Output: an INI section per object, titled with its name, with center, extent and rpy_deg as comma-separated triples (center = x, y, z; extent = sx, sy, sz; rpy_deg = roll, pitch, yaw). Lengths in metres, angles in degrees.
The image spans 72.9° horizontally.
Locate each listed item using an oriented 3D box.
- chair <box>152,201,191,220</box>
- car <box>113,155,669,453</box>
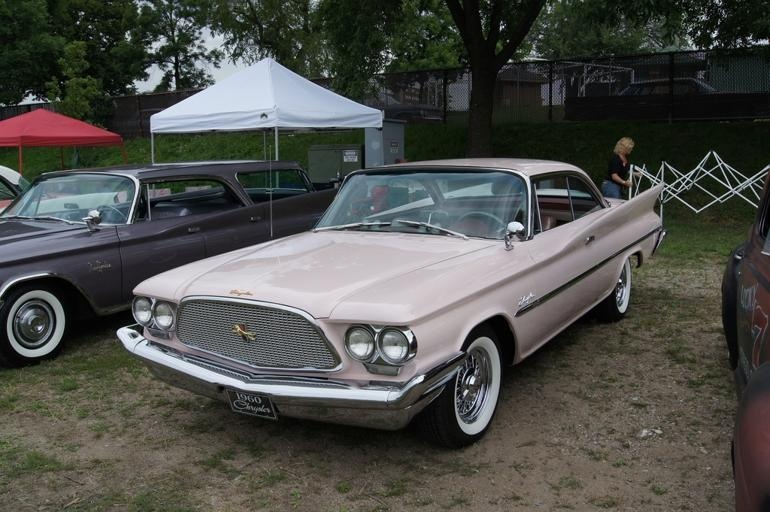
[chair]
center = -2.841, -0.607, 6.868
extent = 0.283, 0.230, 0.290
rpy_deg = 0, 3, 10
[car]
center = 0.295, 0.231, 4.982
extent = 4.783, 2.136, 2.279
rpy_deg = -12, 18, -36
